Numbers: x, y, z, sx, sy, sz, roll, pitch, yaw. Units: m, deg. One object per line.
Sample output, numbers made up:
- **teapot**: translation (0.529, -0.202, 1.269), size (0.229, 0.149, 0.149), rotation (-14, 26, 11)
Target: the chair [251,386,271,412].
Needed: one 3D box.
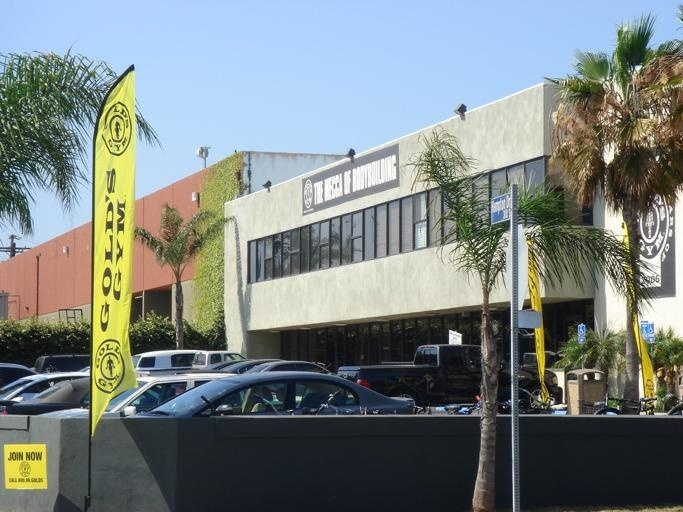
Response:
- **chair**: translation (-1.420, 2.559, 19.072), size (0.284, 0.446, 0.460), rotation (3, -8, -12)

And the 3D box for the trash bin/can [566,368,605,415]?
- **trash bin/can**: translation (5.762, 3.262, 25.564), size (0.764, 1.694, 0.903), rotation (2, -4, -19)

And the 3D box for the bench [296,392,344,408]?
- **bench**: translation (-0.401, 2.640, 19.768), size (0.944, 0.322, 0.119), rotation (9, -15, -39)

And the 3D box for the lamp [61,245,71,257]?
- **lamp**: translation (-18.986, -0.358, 74.494), size (0.159, 0.771, 0.675), rotation (8, -5, -36)

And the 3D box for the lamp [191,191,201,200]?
- **lamp**: translation (-7.408, -2.861, 54.970), size (0.294, 0.671, 0.618), rotation (5, -8, -28)
